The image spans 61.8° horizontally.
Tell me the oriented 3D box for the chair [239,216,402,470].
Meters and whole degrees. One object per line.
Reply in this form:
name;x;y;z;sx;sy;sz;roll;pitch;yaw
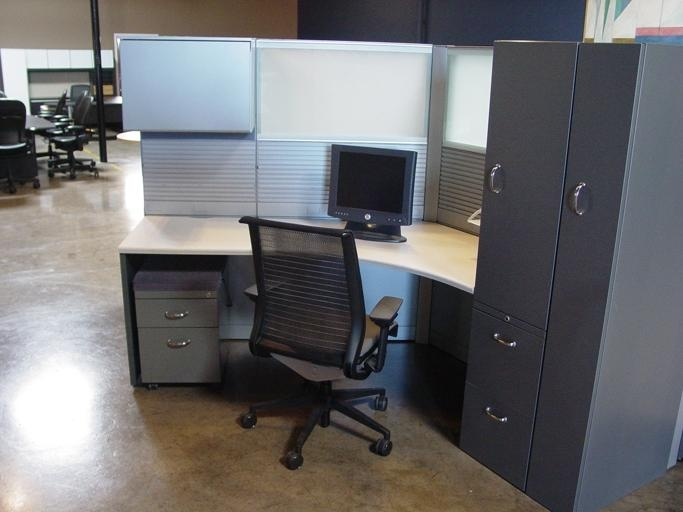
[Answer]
chair;-0.092;0.389;3.042;0.811;1.263;0.819;7;17;19

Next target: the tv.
tv;0.182;-0.377;3.488;0.562;0.597;0.217;6;8;22
